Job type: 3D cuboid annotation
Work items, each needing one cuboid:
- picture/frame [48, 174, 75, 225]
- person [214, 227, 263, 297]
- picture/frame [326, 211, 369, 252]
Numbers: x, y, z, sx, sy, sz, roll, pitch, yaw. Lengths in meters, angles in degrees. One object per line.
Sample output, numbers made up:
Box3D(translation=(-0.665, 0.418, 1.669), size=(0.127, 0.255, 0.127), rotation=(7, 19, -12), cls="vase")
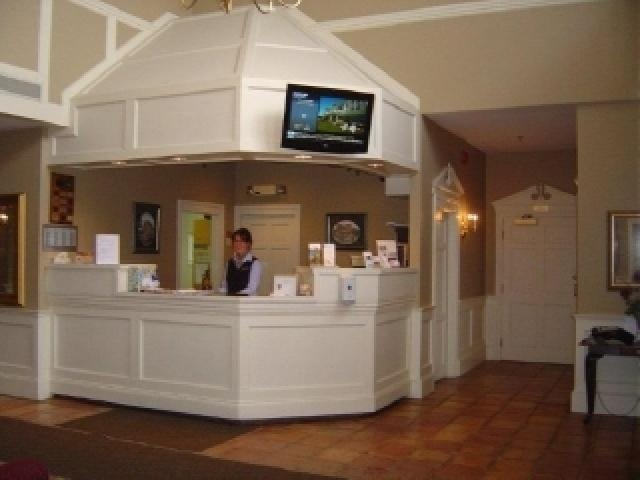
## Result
Box3D(translation=(-3.344, -0.536, 7.065), size=(0.040, 0.544, 0.334), rotation=(1, 1, 34), cls="picture/frame")
Box3D(translation=(-0.989, 0.281, 7.028), size=(0.472, 0.793, 0.776), rotation=(1, 1, -14), cls="person")
Box3D(translation=(0.520, -0.145, 9.839), size=(0.744, 0.703, 0.101), rotation=(1, 2, 16), cls="picture/frame")
